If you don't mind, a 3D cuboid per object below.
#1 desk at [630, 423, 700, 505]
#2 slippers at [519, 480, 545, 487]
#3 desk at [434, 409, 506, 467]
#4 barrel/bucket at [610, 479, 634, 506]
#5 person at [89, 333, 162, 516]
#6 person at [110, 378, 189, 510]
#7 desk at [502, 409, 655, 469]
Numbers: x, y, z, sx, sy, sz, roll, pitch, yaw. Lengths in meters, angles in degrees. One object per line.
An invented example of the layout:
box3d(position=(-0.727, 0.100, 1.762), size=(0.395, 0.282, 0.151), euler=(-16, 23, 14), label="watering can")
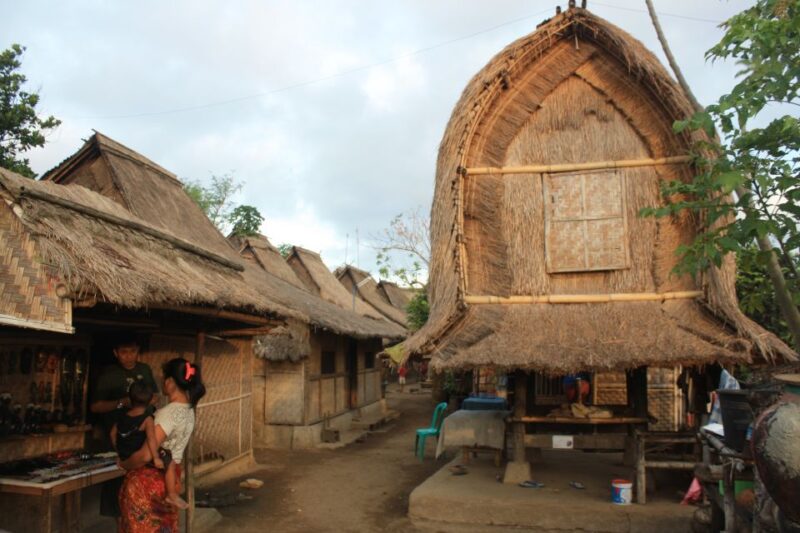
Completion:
box3d(position=(4.055, 2.887, 8.772), size=(1.183, 1.139, 1.198), euler=(-1, -11, 11), label="desk")
box3d(position=(2.021, 3.357, 8.835), size=(0.389, 0.076, 0.232), euler=(-4, -11, 6), label="slippers")
box3d(position=(1.535, 3.212, 11.180), size=(1.534, 0.648, 1.621), euler=(-5, -9, 29), label="desk")
box3d(position=(3.177, 3.240, 8.291), size=(0.317, 0.349, 0.320), euler=(-1, -4, 0), label="barrel/bucket")
box3d(position=(-3.655, 2.161, 7.757), size=(0.909, 2.453, 0.595), euler=(-5, 16, -36), label="person")
box3d(position=(-2.764, 1.961, 6.312), size=(0.776, 1.407, 0.401), euler=(2, -12, -22), label="person")
box3d(position=(2.983, 2.850, 9.433), size=(2.040, 0.927, 1.826), euler=(-7, -12, 24), label="desk")
